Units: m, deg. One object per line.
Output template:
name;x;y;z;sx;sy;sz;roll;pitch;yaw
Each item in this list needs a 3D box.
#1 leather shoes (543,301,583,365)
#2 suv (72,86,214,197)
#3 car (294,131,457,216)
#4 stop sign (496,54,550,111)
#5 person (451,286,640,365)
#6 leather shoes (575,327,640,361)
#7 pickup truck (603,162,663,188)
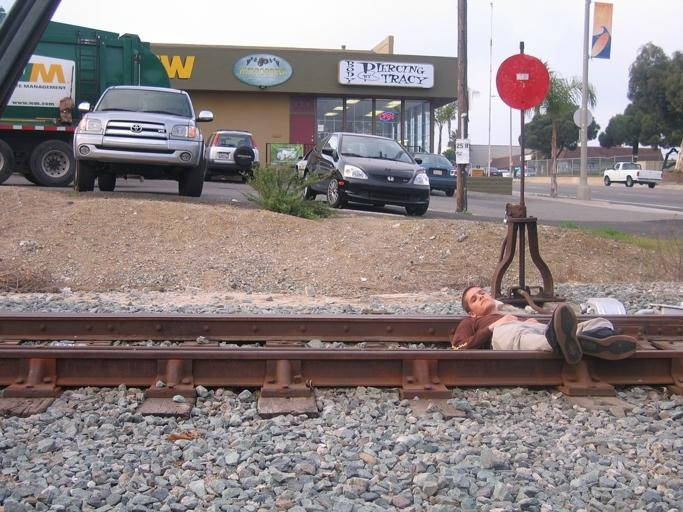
leather shoes;1.643;0.569;4.825;0.198;0.543;0.228;-17;14;-7
suv;-4.209;-2.581;13.771;2.028;1.648;3.337;1;1;-8
car;0.616;-2.010;15.966;3.000;2.026;2.226;4;10;16
stop sign;2.165;-2.088;7.722;0.594;0.662;0.300;3;10;13
person;1.534;0.617;5.258;0.702;0.445;1.148;-2;-2;-22
leather shoes;1.996;0.661;4.974;0.502;0.205;0.232;5;18;-1
pickup truck;21.758;-6.111;48.798;2.320;1.749;4.023;-2;11;-16
